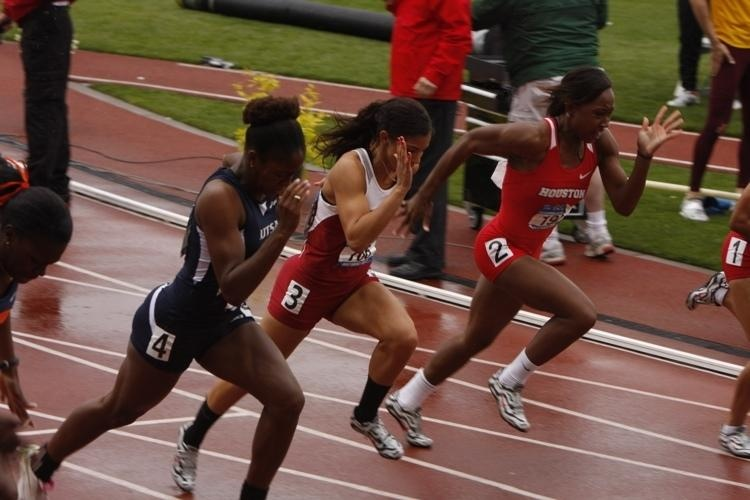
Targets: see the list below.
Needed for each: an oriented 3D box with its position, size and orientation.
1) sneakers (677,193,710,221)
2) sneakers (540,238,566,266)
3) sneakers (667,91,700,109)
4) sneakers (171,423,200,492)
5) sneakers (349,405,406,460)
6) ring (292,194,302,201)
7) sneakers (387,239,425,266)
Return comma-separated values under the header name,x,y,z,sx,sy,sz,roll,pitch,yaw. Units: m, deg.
name,x,y,z,sx,sy,sz,roll,pitch,yaw
sneakers,3.560,-0.470,8.427,0.208,0.140,0.347,-1,9,-9
sneakers,1.662,0.022,7.248,0.179,0.186,0.482,-2,1,-12
sneakers,4.984,-2.499,12.421,0.622,0.221,0.190,-5,24,-2
sneakers,-1.016,1.101,4.028,0.131,0.331,0.167,-1,-2,-35
sneakers,0.033,1.084,4.371,0.419,0.172,0.158,37,49,-4
ring,-0.343,-0.236,3.342,0.035,0.028,0.009,7,5,9
sneakers,0.257,0.044,6.706,0.390,0.233,0.139,3,11,29
